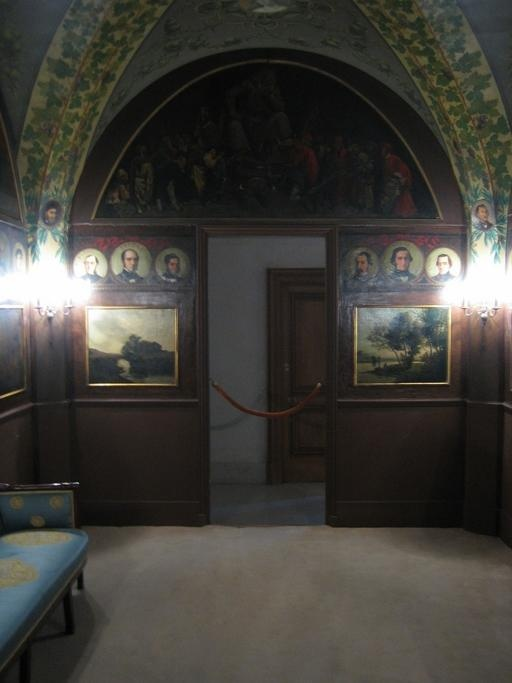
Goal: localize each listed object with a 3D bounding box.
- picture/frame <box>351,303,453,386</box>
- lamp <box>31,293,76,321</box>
[{"bbox_3d":[1.281,0.000,5.408,0.760,0.574,0.034,0,2,0],"label":"picture/frame"},{"bbox_3d":[-1.686,-0.282,5.093,0.151,0.198,0.432,0,4,8],"label":"lamp"}]
